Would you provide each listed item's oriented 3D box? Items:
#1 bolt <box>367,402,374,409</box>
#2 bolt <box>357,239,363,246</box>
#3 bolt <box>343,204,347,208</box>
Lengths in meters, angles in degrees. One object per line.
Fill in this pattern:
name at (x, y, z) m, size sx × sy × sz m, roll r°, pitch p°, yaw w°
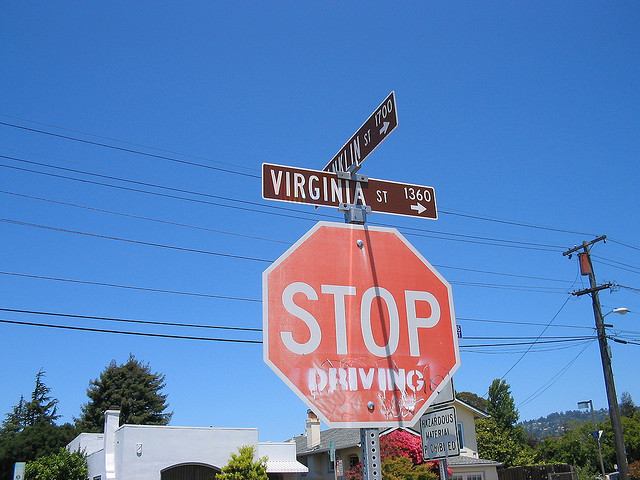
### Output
bolt at (0.591, 1.923, 6.727) m, size 0.045 × 0.084 × 0.024 m, roll -2°, pitch 0°, yaw 6°
bolt at (0.496, 0.031, 7.169) m, size 0.058 × 0.053 × 0.068 m, roll -2°, pitch 8°, yaw -1°
bolt at (0.322, -0.439, 7.408) m, size 0.051 × 0.052 × 0.030 m, roll 0°, pitch 0°, yaw -10°
